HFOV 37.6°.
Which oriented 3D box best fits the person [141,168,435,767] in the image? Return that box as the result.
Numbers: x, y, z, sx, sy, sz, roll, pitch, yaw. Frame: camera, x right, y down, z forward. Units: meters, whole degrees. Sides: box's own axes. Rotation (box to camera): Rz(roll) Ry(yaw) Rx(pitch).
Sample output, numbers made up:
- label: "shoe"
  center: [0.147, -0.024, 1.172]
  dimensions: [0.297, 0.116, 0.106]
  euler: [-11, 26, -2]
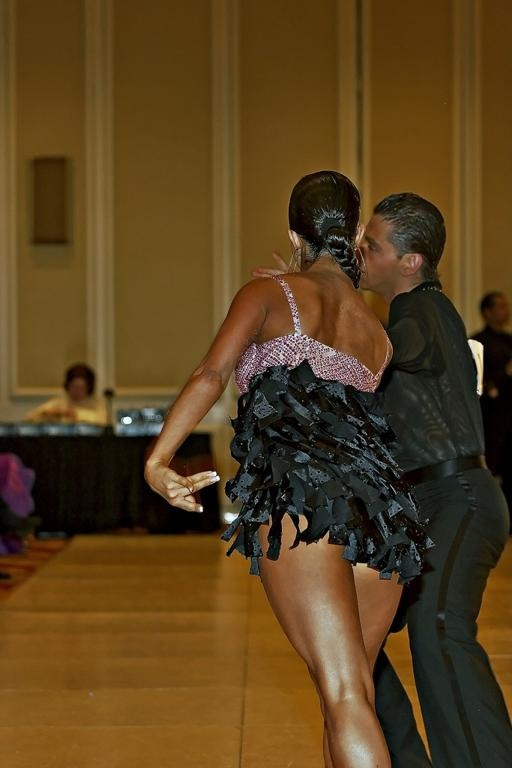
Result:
- label: "person"
  center: [0.069, 0.193, 1.122]
  dimensions: [0.482, 0.755, 0.265]
  euler: [2, -6, -12]

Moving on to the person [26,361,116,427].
- label: "person"
  center: [-1.679, 0.080, 6.829]
  dimensions: [0.665, 0.554, 0.853]
  euler: [2, -5, -10]

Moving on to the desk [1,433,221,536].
- label: "desk"
  center: [-1.099, 0.692, 5.067]
  dimensions: [1.308, 0.553, 0.761]
  euler: [0, -10, -7]
